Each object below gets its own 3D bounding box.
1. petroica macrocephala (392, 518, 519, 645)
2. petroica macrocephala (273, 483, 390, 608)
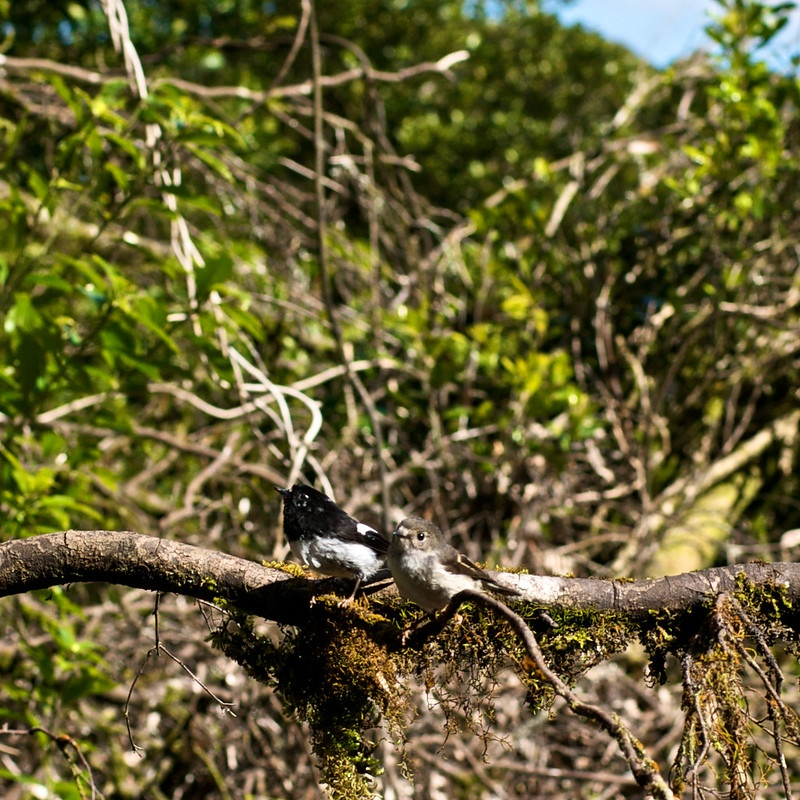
[{"bbox_3d":[0.272,0.670,6.157,0.567,0.308,0.285,4,-18,-5],"label":"petroica macrocephala"},{"bbox_3d":[-0.273,0.614,6.636,0.723,0.251,0.361,31,43,-48],"label":"petroica macrocephala"}]
